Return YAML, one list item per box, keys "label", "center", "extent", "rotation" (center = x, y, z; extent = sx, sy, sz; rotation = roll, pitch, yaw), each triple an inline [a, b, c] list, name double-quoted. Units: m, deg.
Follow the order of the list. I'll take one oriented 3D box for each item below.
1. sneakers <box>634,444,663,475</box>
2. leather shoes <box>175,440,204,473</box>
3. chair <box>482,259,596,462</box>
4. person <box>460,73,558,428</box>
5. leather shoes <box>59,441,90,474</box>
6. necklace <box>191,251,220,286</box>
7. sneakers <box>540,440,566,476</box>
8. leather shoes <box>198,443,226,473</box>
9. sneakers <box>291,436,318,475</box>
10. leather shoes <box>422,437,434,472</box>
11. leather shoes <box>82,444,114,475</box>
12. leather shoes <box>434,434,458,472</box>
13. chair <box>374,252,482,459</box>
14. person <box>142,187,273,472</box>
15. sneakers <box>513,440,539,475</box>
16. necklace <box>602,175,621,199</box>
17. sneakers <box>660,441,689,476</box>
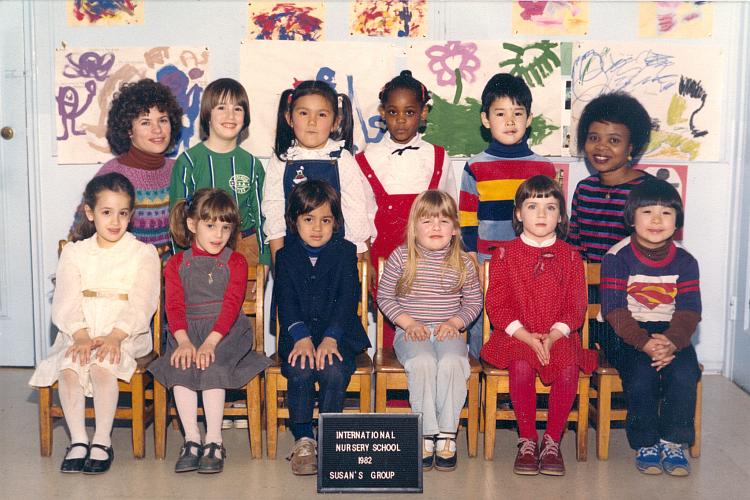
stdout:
- label: "sneakers"
  center: [1.364, 1.051, 3.938]
  extent: [0.077, 0.077, 0.182]
  rotation: [-2, -3, 5]
- label: "leather shoes"
  center: [-0.922, 1.026, 3.922]
  extent: [0.087, 0.082, 0.193]
  rotation: [-1, -2, 5]
- label: "chair"
  center: [0.843, 0.577, 4.193]
  extent: [0.598, 1.019, 0.434]
  rotation: [-1, -2, 7]
- label: "person"
  center: [0.746, -0.119, 4.426]
  extent: [0.524, 1.698, 0.471]
  rotation: [-1, -3, 8]
- label: "leather shoes"
  center: [-1.488, 1.032, 3.914]
  extent: [0.079, 0.086, 0.210]
  rotation: [2, 7, 1]
- label: "necklace"
  center: [-0.885, 0.103, 4.118]
  extent: [0.182, 0.173, 0.043]
  rotation: [1, -3, -1]
- label: "sneakers"
  center: [0.869, 1.037, 3.874]
  extent: [0.085, 0.090, 0.213]
  rotation: [0, 1, 5]
- label: "leather shoes"
  center: [-0.800, 1.036, 3.966]
  extent: [0.107, 0.147, 0.192]
  rotation: [-2, -3, 32]
- label: "sneakers"
  center: [-0.355, 1.026, 3.923]
  extent: [0.122, 0.178, 0.110]
  rotation: [0, -2, -9]
- label: "leather shoes"
  center: [0.269, 1.017, 3.958]
  extent: [0.035, 0.159, 0.100]
  rotation: [-2, -2, 42]
- label: "leather shoes"
  center: [-1.382, 1.035, 3.948]
  extent: [0.143, 0.142, 0.119]
  rotation: [0, -2, -20]
- label: "leather shoes"
  center: [0.352, 1.010, 3.977]
  extent: [0.112, 0.183, 0.078]
  rotation: [-1, -2, 2]
- label: "chair"
  center: [0.288, 0.564, 4.168]
  extent: [0.577, 1.012, 0.639]
  rotation: [-1, -2, 3]
- label: "person"
  center: [-0.856, 0.397, 4.095]
  extent: [0.601, 1.436, 0.378]
  rotation: [-1, -2, -8]
- label: "sneakers"
  center: [0.752, 1.032, 3.944]
  extent: [0.121, 0.172, 0.082]
  rotation: [-1, -2, 9]
- label: "necklace"
  center: [1.357, -0.368, 4.535]
  extent: [0.040, 0.106, 0.077]
  rotation: [-2, -9, -19]
- label: "sneakers"
  center: [1.491, 1.037, 3.928]
  extent: [0.085, 0.096, 0.229]
  rotation: [0, 1, 1]
